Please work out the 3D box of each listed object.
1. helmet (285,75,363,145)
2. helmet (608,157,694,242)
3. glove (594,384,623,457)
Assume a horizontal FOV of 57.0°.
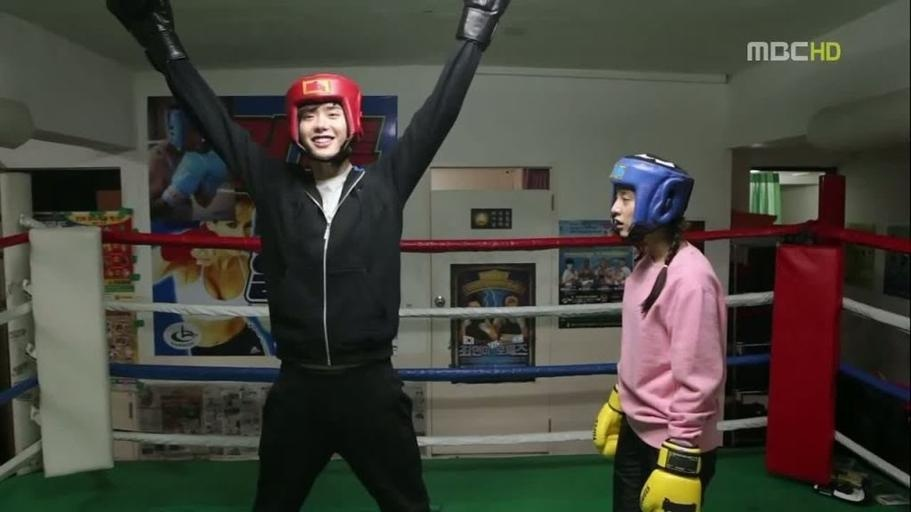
[{"bbox_3d":[-0.697,-0.736,4.550,0.408,0.335,0.374,-2,-6,4],"label":"helmet"},{"bbox_3d":[1.055,-0.345,4.667,0.442,0.385,0.390,-3,6,-9],"label":"helmet"},{"bbox_3d":[0.863,0.943,4.758,0.124,0.327,0.256,11,1,-11],"label":"glove"}]
